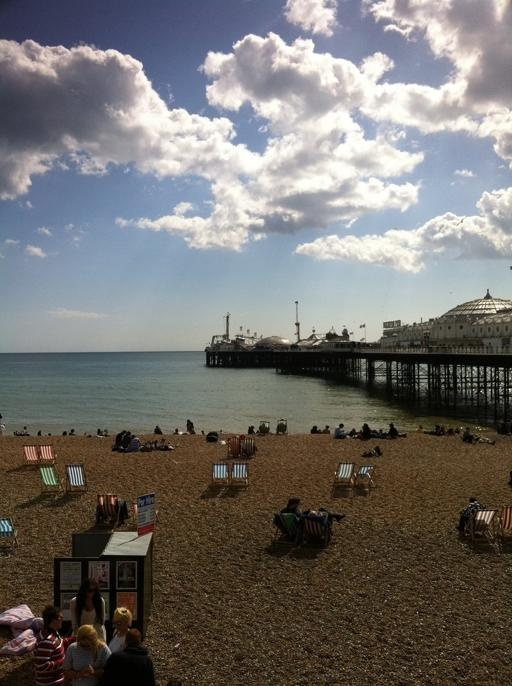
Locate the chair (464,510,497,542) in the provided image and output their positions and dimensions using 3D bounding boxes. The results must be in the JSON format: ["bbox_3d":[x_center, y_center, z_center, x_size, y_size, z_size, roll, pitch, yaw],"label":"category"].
[{"bbox_3d":[3.802,3.091,10.498,0.376,0.454,0.665,1,-1,7],"label":"chair"}]

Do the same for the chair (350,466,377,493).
[{"bbox_3d":[2.468,3.072,14.231,0.424,0.647,0.635,0,3,1],"label":"chair"}]

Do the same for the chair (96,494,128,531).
[{"bbox_3d":[-2.623,3.061,11.264,0.576,0.540,0.660,2,-1,-12],"label":"chair"}]
